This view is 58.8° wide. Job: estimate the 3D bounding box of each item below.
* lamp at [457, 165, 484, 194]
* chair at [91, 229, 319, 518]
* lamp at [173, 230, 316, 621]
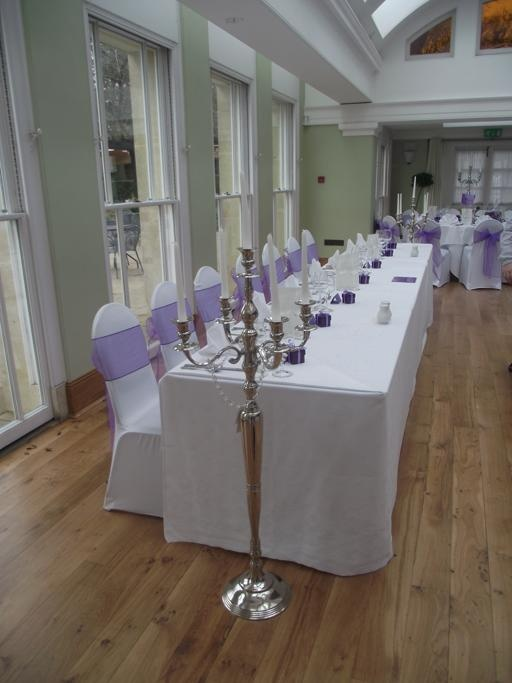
[{"bbox_3d":[5.725,-4.331,12.062,0.602,0.751,0.604,0,9,3],"label":"lamp"},{"bbox_3d":[-0.135,0.102,2.375,0.791,1.460,0.926,6,25,13],"label":"chair"},{"bbox_3d":[0.243,0.076,2.709,0.774,0.653,2.502,3,18,8],"label":"lamp"}]
